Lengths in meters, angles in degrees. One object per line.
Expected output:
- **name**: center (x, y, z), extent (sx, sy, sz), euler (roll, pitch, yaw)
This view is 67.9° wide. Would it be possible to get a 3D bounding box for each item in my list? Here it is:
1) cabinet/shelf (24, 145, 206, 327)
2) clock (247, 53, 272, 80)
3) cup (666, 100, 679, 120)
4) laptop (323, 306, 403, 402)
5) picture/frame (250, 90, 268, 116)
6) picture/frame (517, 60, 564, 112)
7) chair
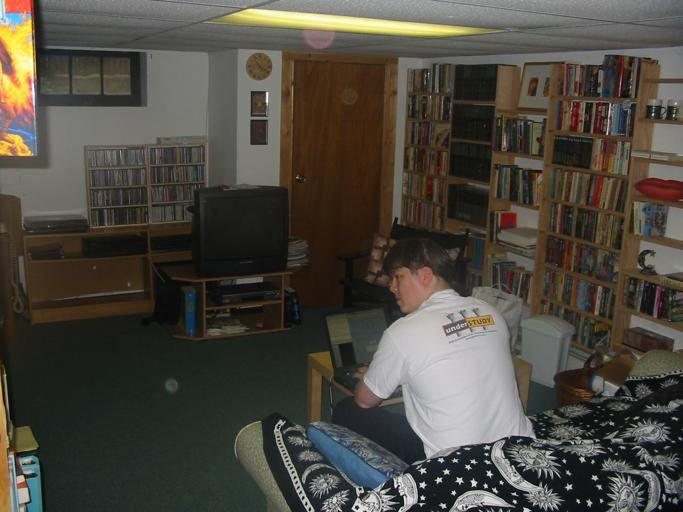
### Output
- **cabinet/shelf**: center (-2.311, -0.263, 5.403), extent (0.627, 1.789, 1.959), euler (10, 15, 41)
- **clock**: center (-0.850, -1.945, 5.173), extent (0.254, 0.242, 0.025), euler (-11, 29, -14)
- **cup**: center (2.356, -1.036, 3.601), extent (0.076, 0.132, 0.041), euler (6, 15, 36)
- **laptop**: center (0.066, 0.543, 3.007), extent (0.461, 0.399, 0.478), euler (-1, 5, -19)
- **picture/frame**: center (-0.850, -1.578, 5.272), extent (0.209, 0.254, 0.020), euler (-7, 13, -18)
- **picture/frame**: center (1.791, -1.511, 4.520), extent (0.042, 0.554, 0.580), euler (3, 7, -24)
- **chair**: center (0.457, 0.102, 5.175), extent (1.048, 1.279, 0.992), euler (5, 4, 44)
